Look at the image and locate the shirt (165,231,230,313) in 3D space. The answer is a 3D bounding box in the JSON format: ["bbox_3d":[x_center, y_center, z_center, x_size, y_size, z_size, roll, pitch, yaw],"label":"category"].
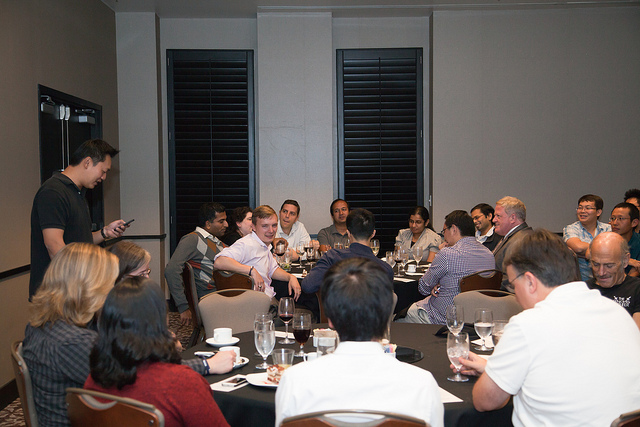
[{"bbox_3d":[-1.195,0.560,4.989,0.369,0.898,1.079,0,-8,20],"label":"shirt"}]

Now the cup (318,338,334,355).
[{"bbox_3d":[0.027,0.723,2.618,0.076,0.077,0.079,-1,1,0],"label":"cup"}]

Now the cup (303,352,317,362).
[{"bbox_3d":[-0.062,0.772,2.605,0.053,0.060,0.084,3,-9,-39],"label":"cup"}]

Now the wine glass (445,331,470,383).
[{"bbox_3d":[0.719,0.741,2.525,0.113,0.246,0.184,0,1,16],"label":"wine glass"}]

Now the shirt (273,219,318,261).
[{"bbox_3d":[-0.317,0.393,5.923,0.553,0.695,0.408,2,-19,-9],"label":"shirt"}]

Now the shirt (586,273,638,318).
[{"bbox_3d":[1.697,0.479,2.782,0.296,0.301,0.161,1,3,22],"label":"shirt"}]

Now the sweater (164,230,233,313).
[{"bbox_3d":[-1.115,0.586,4.934,0.354,0.905,1.022,-11,-15,33],"label":"sweater"}]

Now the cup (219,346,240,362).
[{"bbox_3d":[-0.505,0.784,2.717,0.096,0.077,0.092,2,0,0],"label":"cup"}]

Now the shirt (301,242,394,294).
[{"bbox_3d":[0.146,0.345,3.060,0.422,0.254,0.118,1,9,15],"label":"shirt"}]

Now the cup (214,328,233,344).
[{"bbox_3d":[-0.579,0.738,2.891,0.095,0.074,0.072,-6,11,-38],"label":"cup"}]

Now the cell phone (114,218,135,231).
[{"bbox_3d":[-1.936,0.120,4.773,0.265,0.050,0.049,-25,25,23],"label":"cell phone"}]

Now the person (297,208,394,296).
[{"bbox_3d":[0.125,0.282,3.964,0.598,1.045,0.372,4,20,-1],"label":"person"}]

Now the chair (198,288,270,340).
[{"bbox_3d":[-0.648,0.686,3.568,0.394,0.551,0.418,1,-7,-14],"label":"chair"}]

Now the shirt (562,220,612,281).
[{"bbox_3d":[2.728,0.387,4.841,0.404,0.633,0.327,-6,13,21],"label":"shirt"}]

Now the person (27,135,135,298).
[{"bbox_3d":[-1.886,0.384,3.739,0.611,1.864,0.766,5,7,-11],"label":"person"}]

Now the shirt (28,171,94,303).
[{"bbox_3d":[-1.885,0.151,3.518,0.408,0.893,0.270,0,1,-33],"label":"shirt"}]

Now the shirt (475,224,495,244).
[{"bbox_3d":[1.918,0.263,5.626,0.259,0.170,0.331,-7,6,31],"label":"shirt"}]

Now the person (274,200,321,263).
[{"bbox_3d":[-0.346,0.403,5.685,0.564,1.052,0.583,3,-6,-4],"label":"person"}]

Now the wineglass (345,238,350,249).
[{"bbox_3d":[0.310,0.338,5.397,0.075,0.149,0.078,-1,-3,14],"label":"wineglass"}]

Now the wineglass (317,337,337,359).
[{"bbox_3d":[0.037,0.728,2.616,0.087,0.156,0.095,-1,-5,8],"label":"wineglass"}]

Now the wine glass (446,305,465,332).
[{"bbox_3d":[0.790,0.648,2.847,0.122,0.215,0.129,-3,-3,16],"label":"wine glass"}]

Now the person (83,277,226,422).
[{"bbox_3d":[-0.781,0.656,2.284,0.565,0.857,0.432,12,33,11],"label":"person"}]

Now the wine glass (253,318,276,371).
[{"bbox_3d":[-0.303,0.710,2.610,0.110,0.258,0.309,0,0,-8],"label":"wine glass"}]

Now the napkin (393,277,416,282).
[{"bbox_3d":[0.765,0.626,4.464,0.184,0.021,0.134,0,0,29],"label":"napkin"}]

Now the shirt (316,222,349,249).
[{"bbox_3d":[0.132,0.275,5.792,0.325,0.456,0.255,0,-7,-5],"label":"shirt"}]

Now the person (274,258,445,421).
[{"bbox_3d":[0.201,0.634,2.419,0.679,0.726,0.363,0,8,-2],"label":"person"}]
